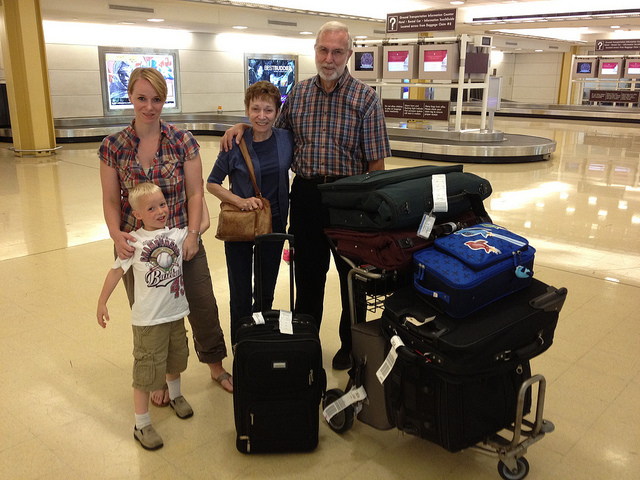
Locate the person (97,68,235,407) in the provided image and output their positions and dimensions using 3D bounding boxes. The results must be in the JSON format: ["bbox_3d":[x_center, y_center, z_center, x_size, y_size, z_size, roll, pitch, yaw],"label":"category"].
[{"bbox_3d":[-0.769,0.002,2.377,0.594,1.727,0.524,-7,6,-22],"label":"person"}]

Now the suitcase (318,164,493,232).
[{"bbox_3d":[0.430,-0.214,2.162,0.554,0.183,0.435,-11,11,-24],"label":"suitcase"}]

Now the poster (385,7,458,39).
[{"bbox_3d":[2.580,-5.542,11.690,0.397,0.547,2.037,-17,25,-39],"label":"poster"}]

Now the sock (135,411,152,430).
[{"bbox_3d":[-0.873,0.883,2.265,0.086,0.087,0.061,-4,11,-10],"label":"sock"}]

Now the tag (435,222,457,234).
[{"bbox_3d":[0.591,-0.058,2.123,0.066,0.031,0.051,-4,13,15],"label":"tag"}]

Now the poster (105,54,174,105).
[{"bbox_3d":[-6.289,-5.584,16.179,2.861,2.112,0.211,5,14,9],"label":"poster"}]

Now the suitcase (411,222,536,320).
[{"bbox_3d":[0.649,0.079,1.940,0.466,0.225,0.320,-20,27,-21],"label":"suitcase"}]

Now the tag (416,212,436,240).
[{"bbox_3d":[0.466,-0.067,2.034,0.081,0.145,0.019,20,0,2],"label":"tag"}]

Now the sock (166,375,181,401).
[{"bbox_3d":[-0.789,0.792,2.487,0.067,0.134,0.052,-9,21,-21],"label":"sock"}]

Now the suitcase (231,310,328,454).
[{"bbox_3d":[-0.187,0.699,2.251,0.434,0.598,0.339,1,6,-1],"label":"suitcase"}]

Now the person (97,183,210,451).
[{"bbox_3d":[-0.840,0.347,2.281,0.303,1.227,0.528,7,21,21],"label":"person"}]

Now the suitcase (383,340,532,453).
[{"bbox_3d":[0.591,0.662,2.001,0.468,0.409,0.604,-10,14,-42],"label":"suitcase"}]

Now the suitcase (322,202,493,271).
[{"bbox_3d":[0.397,-0.082,2.410,0.775,0.198,0.854,-9,2,-1],"label":"suitcase"}]

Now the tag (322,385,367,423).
[{"bbox_3d":[0.120,0.762,2.189,0.165,0.052,0.179,-27,-3,42],"label":"tag"}]

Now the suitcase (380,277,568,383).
[{"bbox_3d":[0.658,0.315,2.058,0.744,0.261,0.637,-22,28,-37],"label":"suitcase"}]

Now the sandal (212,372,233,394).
[{"bbox_3d":[-0.578,0.831,2.719,0.055,0.042,0.153,-25,31,-36],"label":"sandal"}]

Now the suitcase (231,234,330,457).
[{"bbox_3d":[-0.187,0.516,2.288,0.499,0.974,0.449,-3,9,-13],"label":"suitcase"}]

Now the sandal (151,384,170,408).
[{"bbox_3d":[-0.887,0.857,2.545,0.095,0.101,0.089,-8,21,-21],"label":"sandal"}]

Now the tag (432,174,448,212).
[{"bbox_3d":[0.541,-0.216,2.089,0.071,0.042,0.167,0,57,5],"label":"tag"}]
